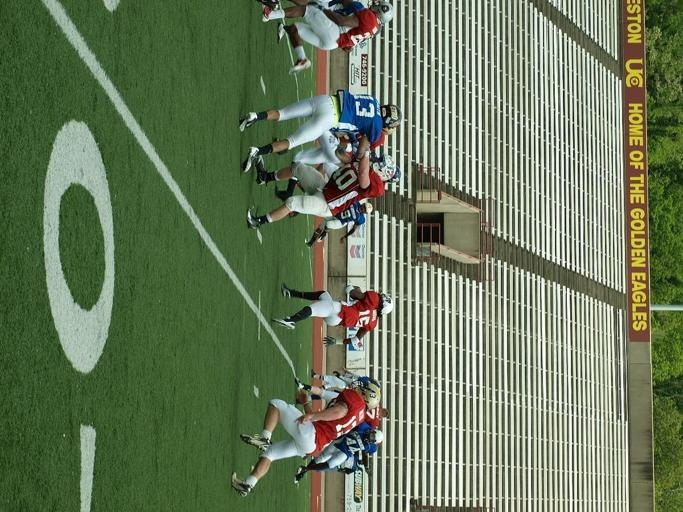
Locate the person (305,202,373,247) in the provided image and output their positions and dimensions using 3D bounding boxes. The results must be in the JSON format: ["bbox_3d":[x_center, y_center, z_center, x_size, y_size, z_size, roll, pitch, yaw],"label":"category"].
[{"bbox_3d":[-0.111,-0.620,31.138,1.145,0.414,0.590,-32,68,-9],"label":"person"}]

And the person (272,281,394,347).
[{"bbox_3d":[-0.150,0.767,31.318,1.806,0.968,1.254,5,9,1],"label":"person"}]

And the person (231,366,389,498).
[{"bbox_3d":[-0.712,2.999,31.385,2.034,0.773,1.505,-14,39,-22],"label":"person"}]

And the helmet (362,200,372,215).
[{"bbox_3d":[0.352,-0.851,31.270,0.184,0.284,0.186,2,1,22],"label":"helmet"}]

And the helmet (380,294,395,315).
[{"bbox_3d":[0.712,0.810,31.442,0.292,0.382,0.263,10,5,1],"label":"helmet"}]
